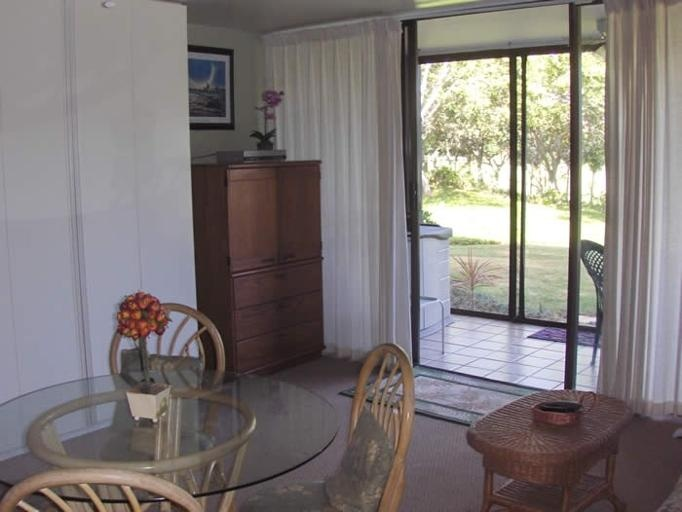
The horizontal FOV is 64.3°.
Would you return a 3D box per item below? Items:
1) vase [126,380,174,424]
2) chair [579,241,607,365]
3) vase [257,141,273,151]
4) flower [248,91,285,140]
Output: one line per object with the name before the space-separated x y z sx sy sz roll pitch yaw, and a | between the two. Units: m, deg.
vase | -0.768 0.585 2.192 0.132 0.124 0.157 0 -1 8
chair | 1.829 0.347 3.982 0.104 0.929 0.210 -9 14 -36
vase | -0.640 -0.920 4.568 0.158 0.088 0.108 2 -3 -3
flower | -0.619 -1.209 4.691 0.292 0.423 0.322 1 8 -20
